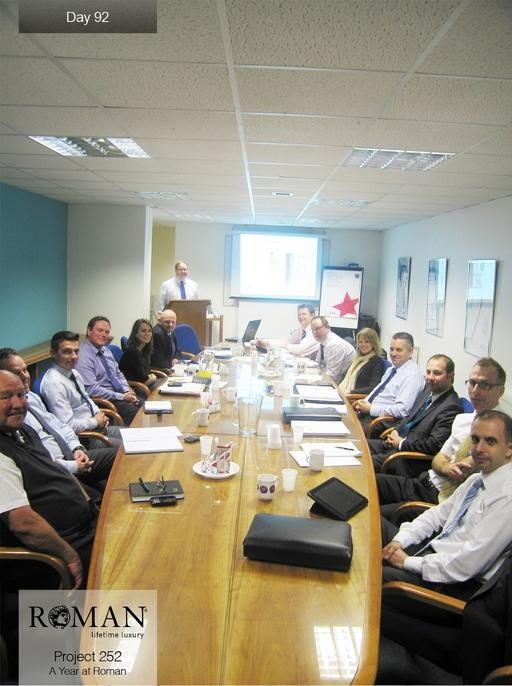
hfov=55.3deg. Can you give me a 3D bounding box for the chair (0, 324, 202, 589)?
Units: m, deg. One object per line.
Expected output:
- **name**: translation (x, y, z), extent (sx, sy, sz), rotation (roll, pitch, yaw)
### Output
- **chair**: translation (-1.389, 0.530, 3.563), extent (1.088, 1.897, 1.035), rotation (-15, 4, 6)

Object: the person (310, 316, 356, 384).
- **person**: translation (0.822, 0.204, 5.297), extent (0.489, 1.008, 0.468), rotation (3, 19, 19)

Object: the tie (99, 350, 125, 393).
- **tie**: translation (-1.285, 0.242, 4.319), extent (0.132, 0.342, 0.251), rotation (-20, 0, 20)

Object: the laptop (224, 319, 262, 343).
- **laptop**: translation (-0.203, -0.168, 6.273), extent (0.389, 0.333, 0.470), rotation (7, 8, 23)

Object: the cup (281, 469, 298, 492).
- **cup**: translation (0.127, 0.528, 1.888), extent (0.078, 0.079, 0.080), rotation (0, 3, 0)

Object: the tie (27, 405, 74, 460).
- **tie**: translation (-1.141, 0.514, 2.778), extent (0.152, 0.297, 0.219), rotation (-35, 14, 18)

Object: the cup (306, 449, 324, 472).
- **cup**: translation (0.265, 0.510, 2.149), extent (0.095, 0.087, 0.061), rotation (-10, 16, -44)

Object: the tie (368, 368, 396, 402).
- **tie**: translation (1.063, 0.359, 4.110), extent (0.100, 0.286, 0.205), rotation (40, -9, 19)

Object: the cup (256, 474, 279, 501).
- **cup**: translation (0.039, 0.539, 1.823), extent (0.072, 0.072, 0.090), rotation (1, -1, 3)

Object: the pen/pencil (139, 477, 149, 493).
- **pen/pencil**: translation (-0.434, 0.552, 1.903), extent (0.020, 0.012, 0.141), rotation (-4, 4, -18)
